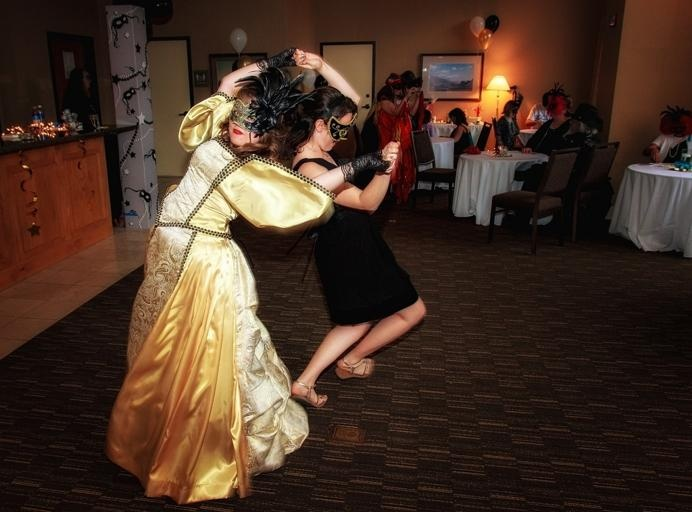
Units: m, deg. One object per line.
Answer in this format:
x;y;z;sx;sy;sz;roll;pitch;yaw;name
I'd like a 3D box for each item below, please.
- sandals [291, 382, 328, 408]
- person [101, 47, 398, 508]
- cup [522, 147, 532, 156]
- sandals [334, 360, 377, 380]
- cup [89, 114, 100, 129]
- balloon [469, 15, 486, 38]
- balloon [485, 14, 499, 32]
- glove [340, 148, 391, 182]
-0.210;0.763;2.677;0.231;0.094;0.109;26;11;-28;sandals
-0.497;0.056;2.151;0.767;1.894;1.087;19;26;38;person
2.447;-1.429;6.462;0.147;0.064;0.176;-1;29;6;cup
0.049;0.691;2.882;0.216;0.075;0.117;-6;36;-1;sandals
-2.787;-1.508;5.314;0.086;0.140;0.248;-8;22;-25;cup
2.695;-4.733;9.842;0.285;0.363;0.268;5;20;10;balloon
3.050;-4.870;9.978;0.342;0.394;0.116;3;16;15;balloon
0.079;-0.398;2.077;0.202;0.110;0.075;-29;26;6;glove
